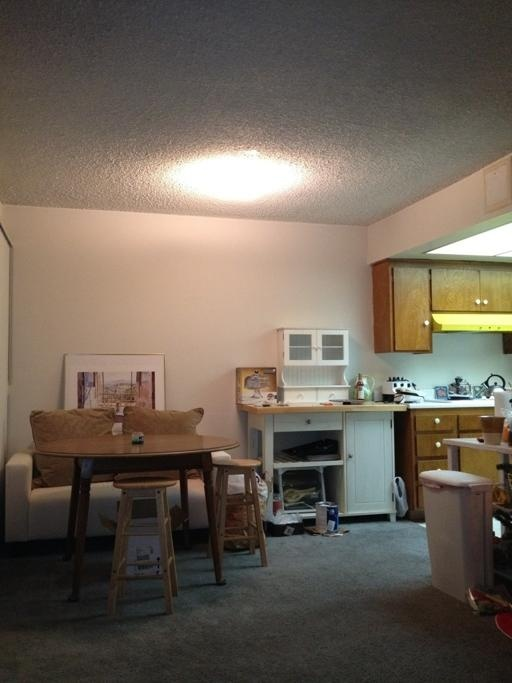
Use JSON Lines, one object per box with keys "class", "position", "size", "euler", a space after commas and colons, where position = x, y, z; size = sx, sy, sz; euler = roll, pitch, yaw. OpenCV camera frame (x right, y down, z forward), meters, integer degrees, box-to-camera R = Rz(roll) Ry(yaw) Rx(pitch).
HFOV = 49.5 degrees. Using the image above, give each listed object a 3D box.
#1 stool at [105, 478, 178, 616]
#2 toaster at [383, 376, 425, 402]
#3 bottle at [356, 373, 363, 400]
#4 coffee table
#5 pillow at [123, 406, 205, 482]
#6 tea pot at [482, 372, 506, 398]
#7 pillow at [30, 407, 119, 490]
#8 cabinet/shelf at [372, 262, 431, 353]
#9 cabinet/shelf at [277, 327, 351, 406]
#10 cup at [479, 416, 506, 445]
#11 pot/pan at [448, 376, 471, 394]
{"class": "stool", "position": [-0.580, 1.042, 2.887], "size": [0.342, 0.633, 0.430], "euler": [1, -6, -9]}
{"class": "toaster", "position": [1.398, 0.457, 5.272], "size": [0.260, 0.165, 0.267], "euler": [1, 0, -13]}
{"class": "bottle", "position": [0.989, 0.434, 5.291], "size": [0.073, 0.237, 0.194], "euler": [-1, -6, 10]}
{"class": "coffee table", "position": [-0.712, 1.096, 3.210], "size": [1.104, 0.744, 0.903], "euler": [1, -7, -18]}
{"class": "pillow", "position": [-0.616, 0.674, 3.633], "size": [0.542, 0.504, 0.190], "euler": [-3, -14, -7]}
{"class": "tea pot", "position": [2.519, 0.459, 5.810], "size": [0.362, 0.252, 0.143], "euler": [3, -7, -30]}
{"class": "pillow", "position": [-1.245, 0.736, 3.751], "size": [0.518, 0.504, 0.198], "euler": [1, -16, -23]}
{"class": "cabinet/shelf", "position": [1.395, -0.344, 5.369], "size": [0.568, 0.892, 0.383], "euler": [-2, -7, 16]}
{"class": "cabinet/shelf", "position": [0.514, 0.234, 5.113], "size": [0.695, 0.780, 0.275], "euler": [0, -3, -11]}
{"class": "cup", "position": [1.311, 0.488, 3.082], "size": [0.143, 0.140, 0.144], "euler": [1, -1, 0]}
{"class": "pot/pan", "position": [2.079, 0.444, 5.747], "size": [0.245, 0.234, 0.145], "euler": [-2, 6, -17]}
